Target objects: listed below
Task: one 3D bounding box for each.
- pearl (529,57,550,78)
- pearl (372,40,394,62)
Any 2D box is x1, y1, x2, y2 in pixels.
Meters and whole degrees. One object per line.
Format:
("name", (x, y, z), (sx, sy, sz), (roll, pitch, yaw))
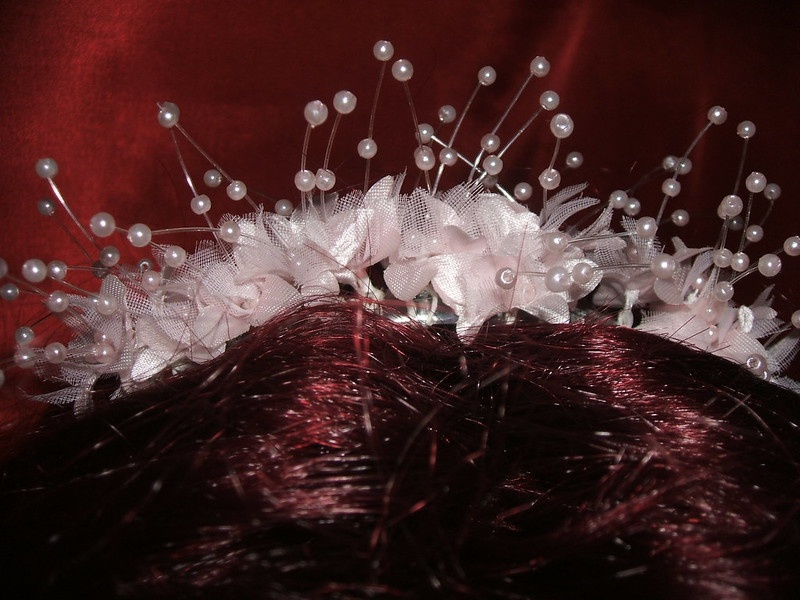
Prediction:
("pearl", (0.198, -0.339, 1.277), (0.043, 0.030, 0.021), (-3, 5, 3))
("pearl", (-0.024, -0.346, 1.238), (0.040, 0.034, 0.020), (0, 22, 10))
